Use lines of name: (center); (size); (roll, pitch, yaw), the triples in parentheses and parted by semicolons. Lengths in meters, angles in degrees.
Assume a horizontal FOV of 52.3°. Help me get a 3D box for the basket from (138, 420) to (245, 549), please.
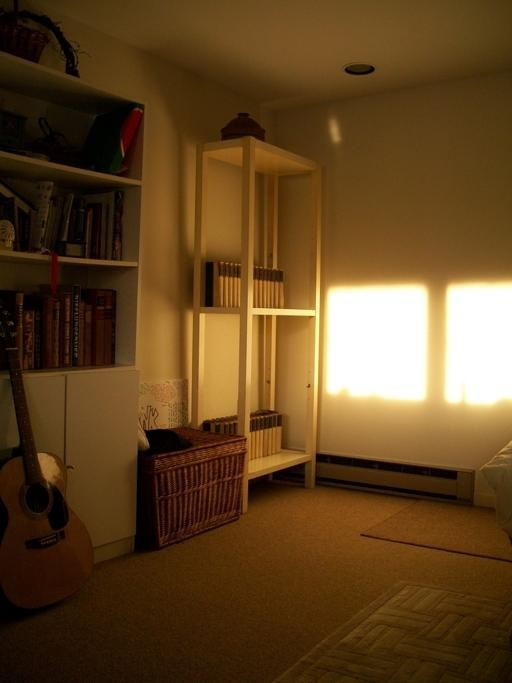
basket: (-0.311, 0.657, 2.495); (0.456, 0.337, 0.468); (-1, -1, 39)

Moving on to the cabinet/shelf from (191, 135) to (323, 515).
cabinet/shelf: (0.028, -0.110, 3.382); (0.518, 1.627, 1.015); (3, 2, 33)
